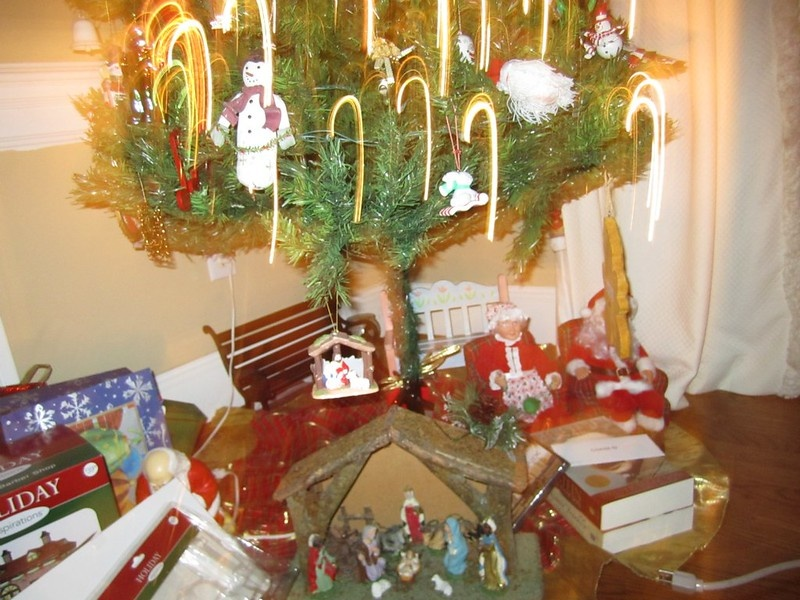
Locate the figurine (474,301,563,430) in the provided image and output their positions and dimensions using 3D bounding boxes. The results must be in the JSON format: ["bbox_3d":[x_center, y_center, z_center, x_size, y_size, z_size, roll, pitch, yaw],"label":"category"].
[{"bbox_3d":[0.369,0.223,1.858,0.251,0.165,0.448,-3,54,2],"label":"figurine"}]

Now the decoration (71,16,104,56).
[{"bbox_3d":[-0.896,-0.748,1.634,0.080,0.089,0.081,-15,19,-30],"label":"decoration"}]

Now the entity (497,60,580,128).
[{"bbox_3d":[0.273,-0.405,1.133,0.137,0.113,0.052,30,20,-4],"label":"entity"}]

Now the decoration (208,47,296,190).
[{"bbox_3d":[-0.311,-0.362,1.188,0.163,0.268,0.083,-14,14,-16],"label":"decoration"}]

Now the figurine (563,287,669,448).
[{"bbox_3d":[0.669,0.178,1.804,0.313,0.455,0.276,2,14,24],"label":"figurine"}]

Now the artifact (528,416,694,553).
[{"bbox_3d":[0.561,0.498,1.510,0.309,0.218,0.237,-14,15,-14],"label":"artifact"}]

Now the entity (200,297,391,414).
[{"bbox_3d":[-0.375,0.193,1.899,0.148,0.202,0.338,20,29,37],"label":"entity"}]
